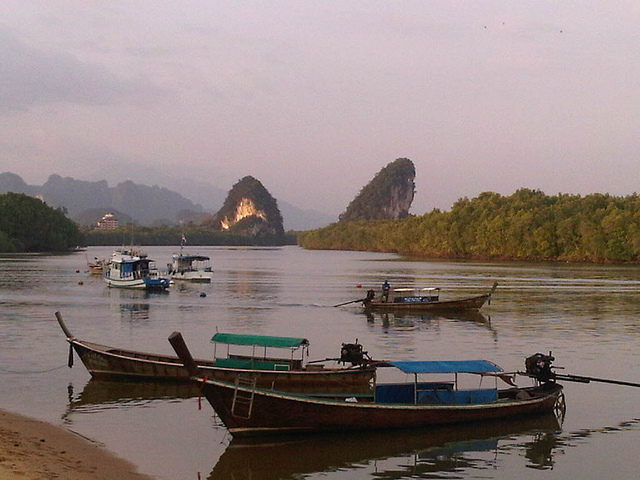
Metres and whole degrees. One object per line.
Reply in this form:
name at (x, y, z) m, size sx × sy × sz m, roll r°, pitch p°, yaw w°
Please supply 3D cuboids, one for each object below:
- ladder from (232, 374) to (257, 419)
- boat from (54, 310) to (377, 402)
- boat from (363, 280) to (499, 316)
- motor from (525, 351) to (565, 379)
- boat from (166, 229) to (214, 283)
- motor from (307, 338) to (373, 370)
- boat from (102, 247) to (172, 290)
ladder at (-3.444, 6.961, 40.790) m, size 1.038 × 1.765 × 1.156 m, roll 12°, pitch 10°, yaw 13°
boat at (-5.217, 5.461, 44.873) m, size 15.661 × 3.806 × 3.333 m, roll 4°, pitch -1°, yaw -8°
boat at (7.887, 4.161, 66.336) m, size 9.609 × 2.364 × 2.625 m, roll 0°, pitch 5°, yaw 10°
motor at (10.421, 5.975, 43.374) m, size 1.245 × 0.692 × 1.067 m, roll -4°, pitch -2°, yaw -6°
boat at (-13.973, 2.169, 97.742) m, size 7.577 × 4.081 × 2.751 m, roll 2°, pitch 1°, yaw 31°
motor at (0.958, 5.690, 46.170) m, size 3.410 × 1.470 × 1.060 m, roll 3°, pitch 11°, yaw 5°
boat at (-16.972, 2.873, 84.642) m, size 3.083 × 3.908 × 8.713 m, roll -4°, pitch 6°, yaw -35°
